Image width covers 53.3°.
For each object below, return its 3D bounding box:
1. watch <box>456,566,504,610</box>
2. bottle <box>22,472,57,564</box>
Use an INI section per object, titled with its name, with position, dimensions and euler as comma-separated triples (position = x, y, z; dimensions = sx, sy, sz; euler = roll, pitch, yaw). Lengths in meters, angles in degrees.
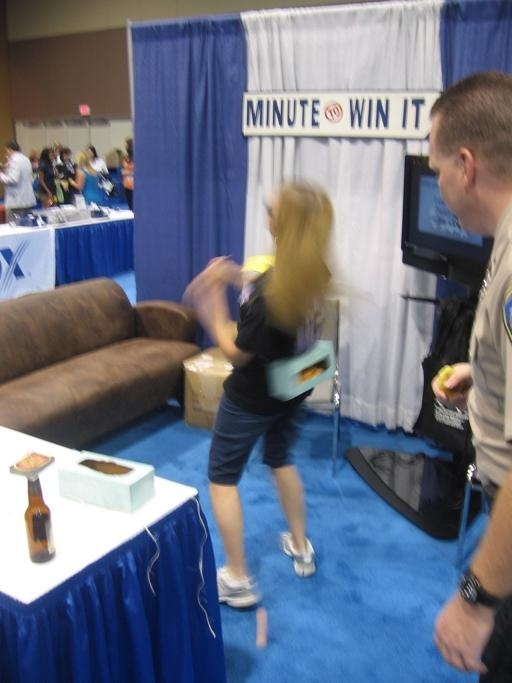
[watch]
position = 0.254, 0.274, 0.583
dimensions = 0.020, 0.042, 0.043
euler = 16, -7, 4
[bottle]
position = -0.472, 0.365, 1.092
dimensions = 0.102, 0.179, 0.051
euler = 10, 15, 39
